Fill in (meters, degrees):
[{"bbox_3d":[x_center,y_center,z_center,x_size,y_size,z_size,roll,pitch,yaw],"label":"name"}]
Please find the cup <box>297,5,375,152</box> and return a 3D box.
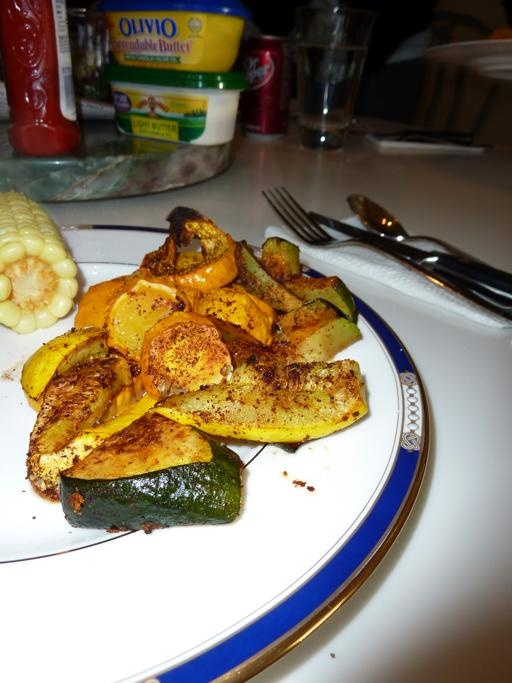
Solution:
[{"bbox_3d":[0.197,-0.774,1.805,0.213,0.384,0.171,8,44,0],"label":"cup"}]
